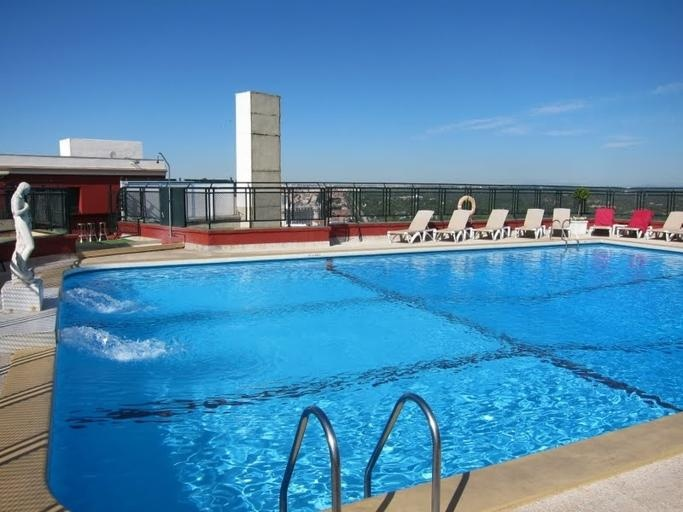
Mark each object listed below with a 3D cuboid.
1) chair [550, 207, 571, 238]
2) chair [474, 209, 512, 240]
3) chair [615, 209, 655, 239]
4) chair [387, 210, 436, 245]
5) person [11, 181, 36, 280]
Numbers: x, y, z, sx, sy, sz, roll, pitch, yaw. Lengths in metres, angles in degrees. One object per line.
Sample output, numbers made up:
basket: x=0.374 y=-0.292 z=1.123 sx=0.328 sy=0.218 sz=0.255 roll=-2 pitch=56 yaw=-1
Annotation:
chair: x=8.344 y=-1.256 z=20.216 sx=0.641 sy=1.015 sz=1.921 roll=2 pitch=8 yaw=23
chair: x=5.592 y=-1.188 z=19.913 sx=1.010 sy=1.063 sz=1.570 roll=3 pitch=9 yaw=29
chair: x=11.190 y=-1.224 z=20.373 sx=2.196 sy=0.878 sz=0.847 roll=-16 pitch=15 yaw=-37
chair: x=2.349 y=-1.038 z=18.441 sx=1.312 sy=1.044 sz=1.533 roll=1 pitch=8 yaw=21
person: x=-5.577 y=-0.407 z=9.272 sx=0.397 sy=1.732 sz=0.740 roll=-7 pitch=10 yaw=-29
